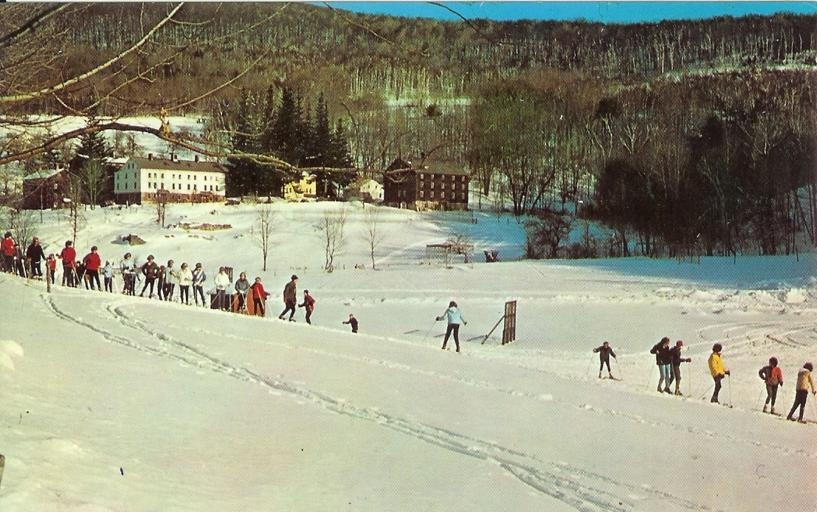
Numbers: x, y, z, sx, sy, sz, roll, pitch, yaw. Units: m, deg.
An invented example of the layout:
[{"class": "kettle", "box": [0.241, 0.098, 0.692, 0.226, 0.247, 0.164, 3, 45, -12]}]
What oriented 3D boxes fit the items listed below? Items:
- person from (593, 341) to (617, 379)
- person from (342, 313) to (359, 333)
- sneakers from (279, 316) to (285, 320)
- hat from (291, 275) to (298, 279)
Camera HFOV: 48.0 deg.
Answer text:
[{"class": "person", "box": [8.855, 4.842, 41.537, 1.172, 2.244, 0.711, -2, -10, 17]}, {"class": "person", "box": [-2.994, 3.516, 46.689, 0.617, 1.348, 0.572, 7, 18, 22]}, {"class": "sneakers", "box": [-6.154, 3.067, 44.491, 0.341, 0.154, 0.248, 5, -5, -31]}, {"class": "hat", "box": [-6.261, 1.228, 50.162, 0.289, 0.095, 0.299, 2, 3, -41]}]
